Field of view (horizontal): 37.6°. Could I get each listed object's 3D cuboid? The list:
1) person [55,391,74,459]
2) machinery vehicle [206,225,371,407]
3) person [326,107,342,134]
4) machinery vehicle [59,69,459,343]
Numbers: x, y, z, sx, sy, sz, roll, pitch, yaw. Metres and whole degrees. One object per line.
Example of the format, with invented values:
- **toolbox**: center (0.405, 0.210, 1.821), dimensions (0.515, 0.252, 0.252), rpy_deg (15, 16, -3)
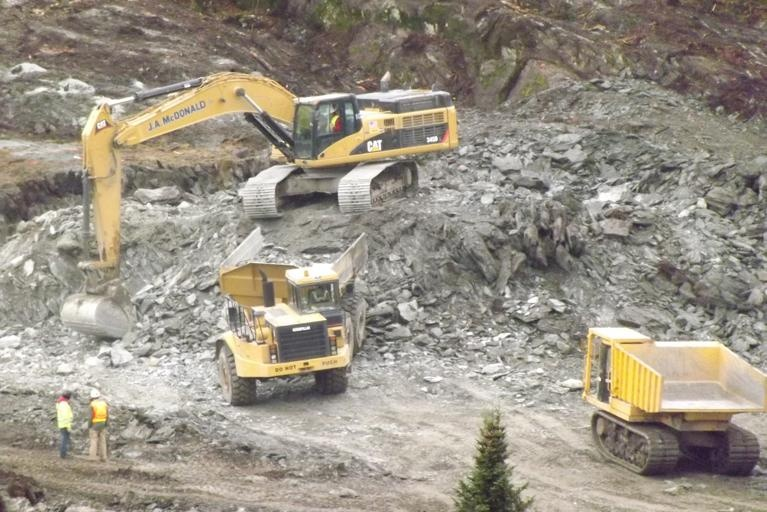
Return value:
- **person**: center (-8.809, 4.505, 30.945), dimensions (0.435, 1.563, 1.519), rpy_deg (-3, 25, -16)
- **machinery vehicle**: center (-3.202, 1.579, 35.121), dimensions (4.072, 3.558, 7.502), rpy_deg (-7, 19, -11)
- **person**: center (-1.721, -4.615, 37.618), dimensions (0.408, 0.706, 0.731), rpy_deg (4, 15, 16)
- **machinery vehicle**: center (-3.850, -3.125, 38.894), dimensions (14.865, 7.579, 6.400), rpy_deg (-15, 17, -37)
